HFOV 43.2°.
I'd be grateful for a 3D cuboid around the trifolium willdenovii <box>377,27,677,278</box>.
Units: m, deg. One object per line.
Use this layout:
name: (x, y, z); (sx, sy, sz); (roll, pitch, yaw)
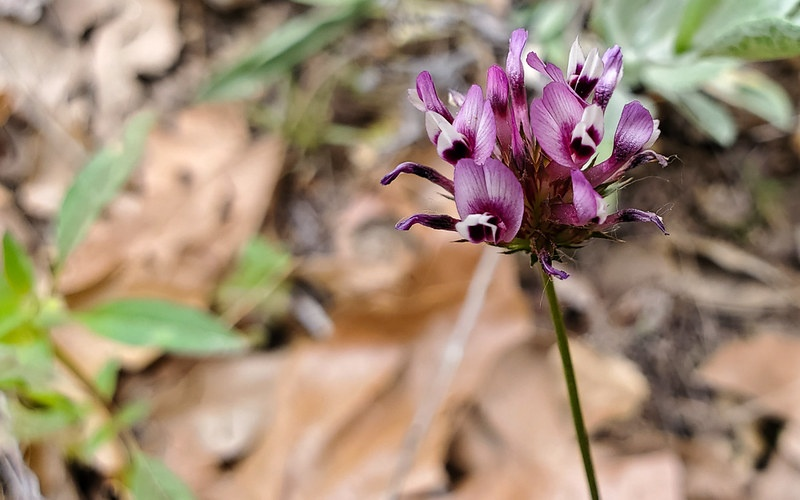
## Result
trifolium willdenovii: (0.487, -0.228, 3.756); (0.856, 0.555, 0.919); (4, 68, 4)
